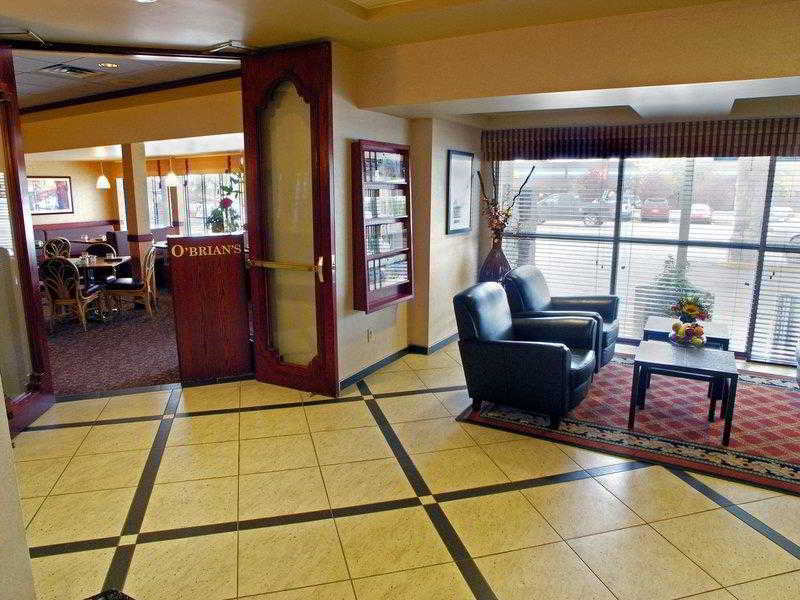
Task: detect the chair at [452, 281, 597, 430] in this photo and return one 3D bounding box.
[{"bbox_3d":[1.222,0.460,5.505,1.214,1.063,1.008,11,22,41],"label":"chair"}]

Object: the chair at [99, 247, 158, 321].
[{"bbox_3d":[-4.052,-0.256,8.637,0.772,0.966,0.647,1,16,5],"label":"chair"}]

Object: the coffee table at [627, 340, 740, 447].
[{"bbox_3d":[2.616,0.831,5.317,0.876,0.671,0.949,7,23,22],"label":"coffee table"}]

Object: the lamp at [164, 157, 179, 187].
[{"bbox_3d":[-5.454,-3.022,13.771,0.264,0.665,1.623,-7,14,-20],"label":"lamp"}]

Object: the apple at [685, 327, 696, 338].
[{"bbox_3d":[2.779,0.320,5.502,0.077,0.083,0.075,-22,31,-30],"label":"apple"}]

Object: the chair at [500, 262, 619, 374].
[{"bbox_3d":[1.796,0.202,6.578,1.296,1.204,1.178,2,14,23],"label":"chair"}]

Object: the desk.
[{"bbox_3d":[-1.924,0.031,6.545,1.235,1.669,1.127,-3,11,-14],"label":"desk"}]

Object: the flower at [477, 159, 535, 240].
[{"bbox_3d":[1.288,-1.179,7.760,0.594,0.831,0.571,19,-16,-41],"label":"flower"}]

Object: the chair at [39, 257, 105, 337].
[{"bbox_3d":[-4.574,-0.091,7.980,0.648,0.962,0.689,4,13,11],"label":"chair"}]

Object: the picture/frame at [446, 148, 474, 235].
[{"bbox_3d":[0.741,-1.374,7.198,0.059,0.989,1.045,9,19,30],"label":"picture/frame"}]

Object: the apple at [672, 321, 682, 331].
[{"bbox_3d":[2.747,0.261,5.630,0.106,0.073,0.077,1,-8,-7],"label":"apple"}]

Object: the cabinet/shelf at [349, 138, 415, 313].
[{"bbox_3d":[-0.184,-0.792,6.112,0.329,1.713,0.979,4,15,24],"label":"cabinet/shelf"}]
